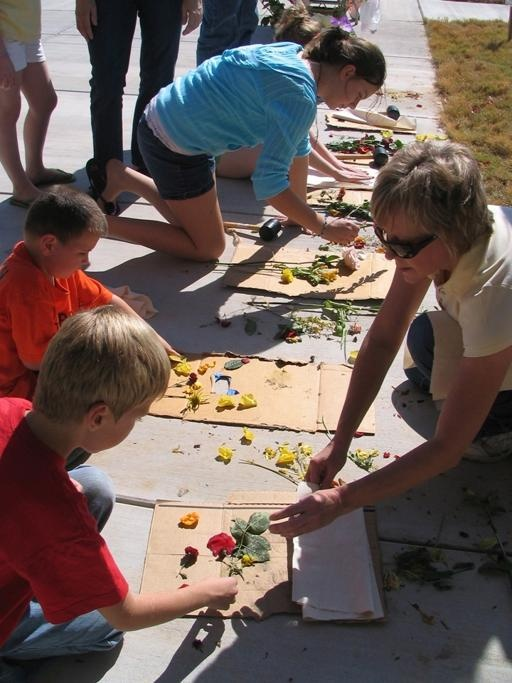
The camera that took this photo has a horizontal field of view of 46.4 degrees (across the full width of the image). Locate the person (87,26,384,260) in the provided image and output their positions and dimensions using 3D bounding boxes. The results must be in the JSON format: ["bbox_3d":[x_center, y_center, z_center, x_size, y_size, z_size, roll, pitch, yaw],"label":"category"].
[{"bbox_3d":[-0.118,-1.005,3.091,1.498,1.080,0.758,13,35,13],"label":"person"}]

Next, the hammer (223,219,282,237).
[{"bbox_3d":[-0.023,-0.649,3.412,0.290,0.078,0.139,9,43,17],"label":"hammer"}]

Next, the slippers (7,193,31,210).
[{"bbox_3d":[-1.395,-0.842,3.590,0.180,0.058,0.064,14,38,7],"label":"slippers"}]

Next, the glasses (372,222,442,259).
[{"bbox_3d":[0.385,-0.254,1.562,0.122,0.034,0.106,-10,38,-20],"label":"glasses"}]
